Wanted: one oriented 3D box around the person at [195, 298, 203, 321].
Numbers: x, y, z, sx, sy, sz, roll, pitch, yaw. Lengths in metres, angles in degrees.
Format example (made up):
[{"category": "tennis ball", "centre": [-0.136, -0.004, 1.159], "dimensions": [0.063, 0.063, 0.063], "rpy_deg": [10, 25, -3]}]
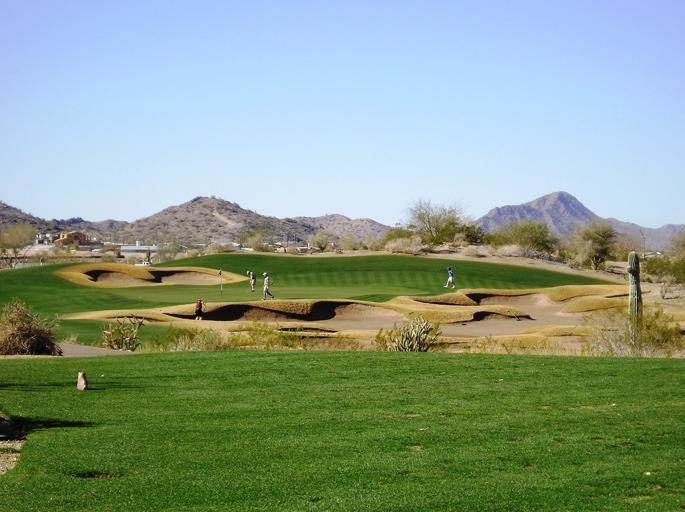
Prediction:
[{"category": "person", "centre": [-5.780, 2.207, 34.254], "dimensions": [0.244, 0.826, 0.504], "rpy_deg": [0, 7, -1]}]
